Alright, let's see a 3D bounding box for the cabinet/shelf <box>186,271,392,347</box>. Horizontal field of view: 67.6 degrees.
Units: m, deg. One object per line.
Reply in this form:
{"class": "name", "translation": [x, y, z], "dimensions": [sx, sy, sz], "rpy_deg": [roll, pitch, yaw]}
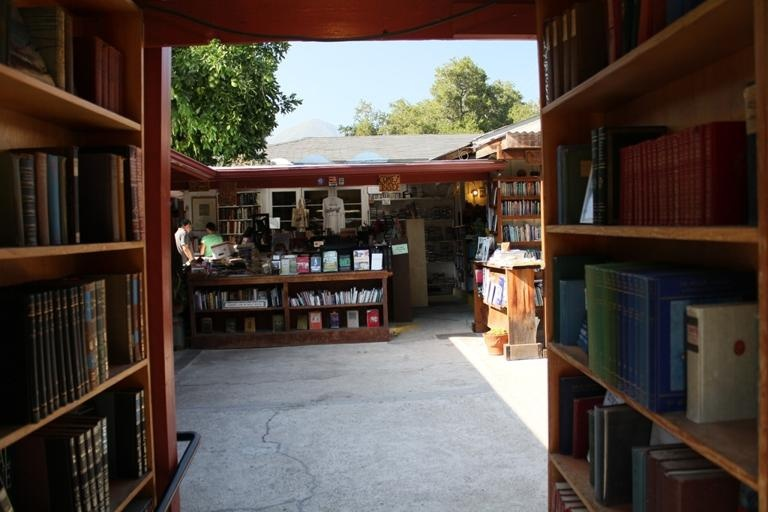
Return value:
{"class": "cabinet/shelf", "translation": [-1.507, 0.796, 9.050], "dimensions": [3.112, 1.169, 0.562], "rpy_deg": [-2, 6, -2]}

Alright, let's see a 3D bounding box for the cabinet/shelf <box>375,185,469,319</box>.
{"class": "cabinet/shelf", "translation": [0.887, 0.000, 12.386], "dimensions": [0.934, 2.762, 2.919], "rpy_deg": [-1, -1, 19]}

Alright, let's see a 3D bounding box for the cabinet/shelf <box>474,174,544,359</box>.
{"class": "cabinet/shelf", "translation": [1.946, 0.190, 8.829], "dimensions": [1.066, 2.561, 2.767], "rpy_deg": [-1, -3, -3]}
